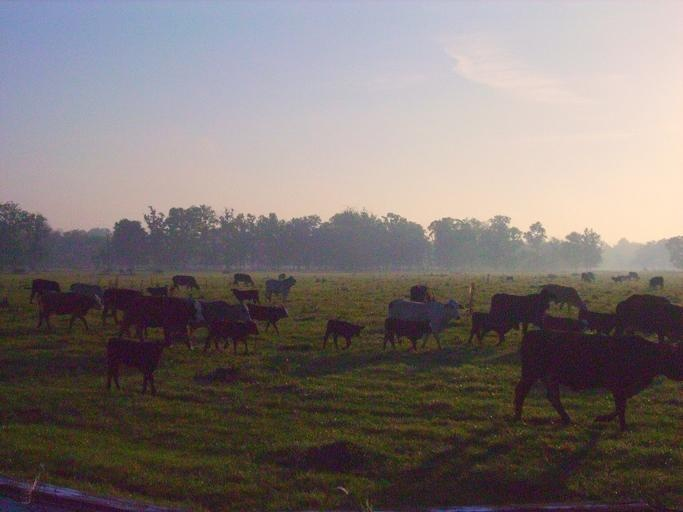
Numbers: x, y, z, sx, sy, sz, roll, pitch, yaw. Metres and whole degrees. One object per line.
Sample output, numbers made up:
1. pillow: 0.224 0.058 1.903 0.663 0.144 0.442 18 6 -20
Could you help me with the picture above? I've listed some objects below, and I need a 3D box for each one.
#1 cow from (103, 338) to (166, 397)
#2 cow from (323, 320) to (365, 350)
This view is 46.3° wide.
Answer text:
1. cow: -7.298 3.743 28.220 1.980 1.711 1.873 3 14 3
2. cow: 0.055 3.315 34.632 1.596 1.351 2.085 2 15 -1
